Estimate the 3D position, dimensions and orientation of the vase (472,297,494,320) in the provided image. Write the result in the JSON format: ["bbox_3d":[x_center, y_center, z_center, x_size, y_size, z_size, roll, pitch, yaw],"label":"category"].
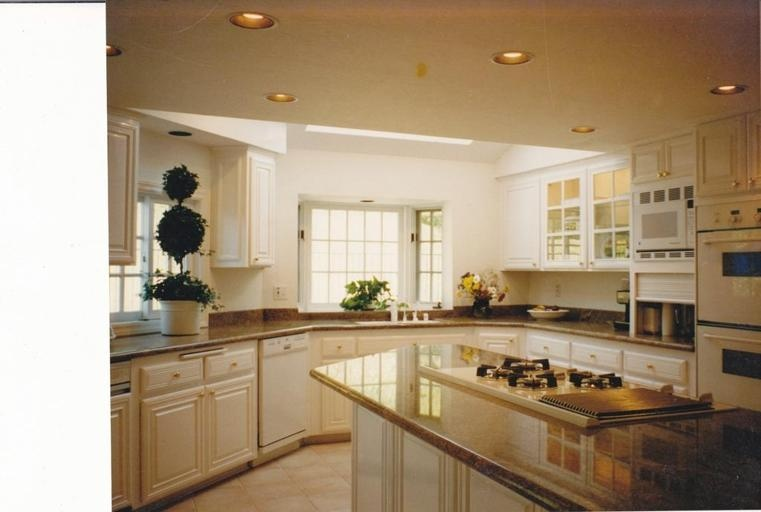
[{"bbox_3d":[0.919,0.465,5.261,0.150,0.185,0.213,13,-18,-38],"label":"vase"}]

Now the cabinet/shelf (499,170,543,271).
[{"bbox_3d":[1.279,-0.301,5.329,0.230,0.822,0.541,-12,10,-23],"label":"cabinet/shelf"}]

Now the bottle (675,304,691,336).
[{"bbox_3d":[2.061,0.431,3.951,0.088,0.205,0.126,-10,10,-18],"label":"bottle"}]

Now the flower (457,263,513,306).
[{"bbox_3d":[0.961,0.320,5.405,0.421,0.257,0.389,-21,-24,2],"label":"flower"}]

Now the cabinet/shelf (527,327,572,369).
[{"bbox_3d":[1.329,0.717,4.600,0.263,0.227,0.414,4,-5,-18],"label":"cabinet/shelf"}]

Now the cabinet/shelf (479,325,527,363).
[{"bbox_3d":[0.943,0.652,4.401,0.376,0.299,0.226,-1,-4,18],"label":"cabinet/shelf"}]

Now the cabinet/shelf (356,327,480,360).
[{"bbox_3d":[0.302,0.668,4.730,1.042,0.243,0.122,-8,9,-21],"label":"cabinet/shelf"}]

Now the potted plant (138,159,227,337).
[{"bbox_3d":[-1.389,-0.031,3.938,0.481,1.134,0.504,-10,10,-16],"label":"potted plant"}]

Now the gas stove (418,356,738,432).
[{"bbox_3d":[0.715,0.525,2.355,0.633,0.118,1.015,-11,9,-38],"label":"gas stove"}]
